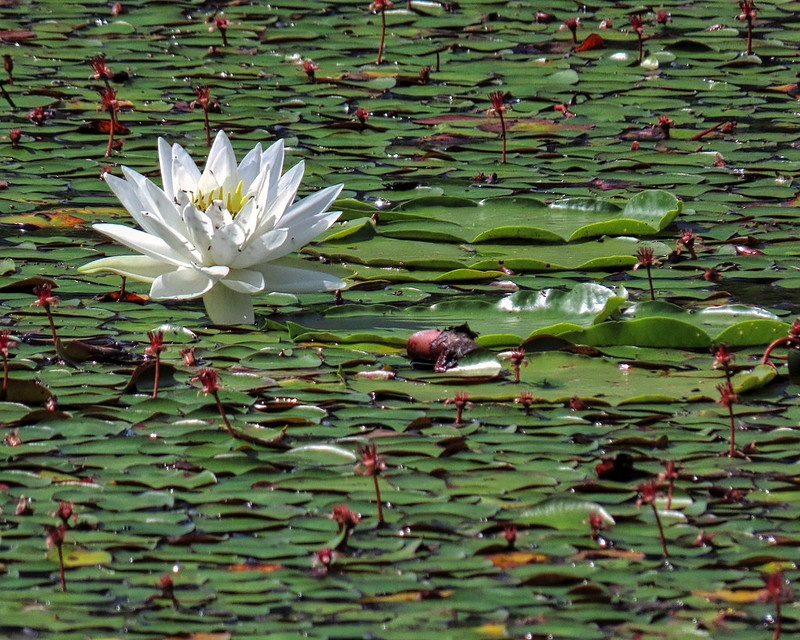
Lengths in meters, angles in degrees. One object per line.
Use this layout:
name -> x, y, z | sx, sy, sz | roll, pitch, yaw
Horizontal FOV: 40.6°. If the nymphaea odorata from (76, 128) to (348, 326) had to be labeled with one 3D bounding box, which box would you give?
nymphaea odorata -> -0.511, -0.278, 3.137 | 0.996, 0.233, 0.633 | 14, 30, 15
